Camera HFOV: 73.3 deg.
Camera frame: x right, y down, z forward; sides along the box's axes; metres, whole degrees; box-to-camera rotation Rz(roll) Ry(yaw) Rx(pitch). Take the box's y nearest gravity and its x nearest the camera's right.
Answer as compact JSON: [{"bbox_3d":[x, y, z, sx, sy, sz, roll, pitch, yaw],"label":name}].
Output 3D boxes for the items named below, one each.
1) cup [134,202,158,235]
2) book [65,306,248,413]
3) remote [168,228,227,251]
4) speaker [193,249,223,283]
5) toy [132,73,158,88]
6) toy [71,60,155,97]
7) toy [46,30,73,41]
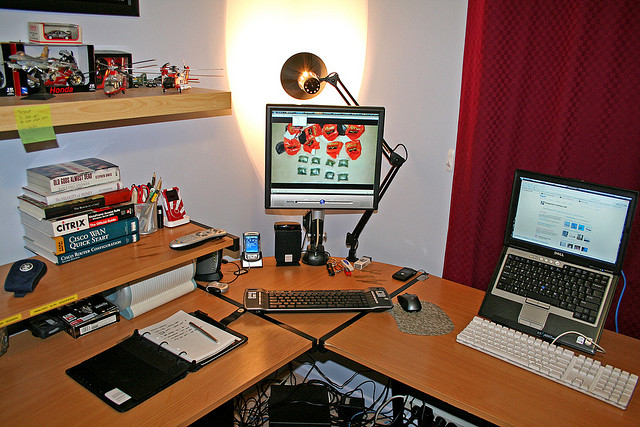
[{"bbox_3d":[-0.836,0.030,2.067,0.134,0.147,0.139,0,-1,0],"label":"cup"},{"bbox_3d":[-0.655,0.523,1.660,0.298,0.068,0.414,19,26,35],"label":"book"},{"bbox_3d":[-0.577,0.097,1.994,0.092,0.043,0.203,15,25,43],"label":"remote"},{"bbox_3d":[-0.551,0.271,2.206,0.155,0.155,0.137,2,13,10],"label":"speaker"},{"bbox_3d":[-0.802,-0.601,1.976,0.132,0.043,0.074,1,38,1],"label":"toy"},{"bbox_3d":[-0.867,-0.564,1.812,0.284,0.121,0.254,14,3,20],"label":"toy"},{"bbox_3d":[-1.043,-0.698,1.689,0.068,0.022,0.040,-12,47,-35],"label":"toy"}]
